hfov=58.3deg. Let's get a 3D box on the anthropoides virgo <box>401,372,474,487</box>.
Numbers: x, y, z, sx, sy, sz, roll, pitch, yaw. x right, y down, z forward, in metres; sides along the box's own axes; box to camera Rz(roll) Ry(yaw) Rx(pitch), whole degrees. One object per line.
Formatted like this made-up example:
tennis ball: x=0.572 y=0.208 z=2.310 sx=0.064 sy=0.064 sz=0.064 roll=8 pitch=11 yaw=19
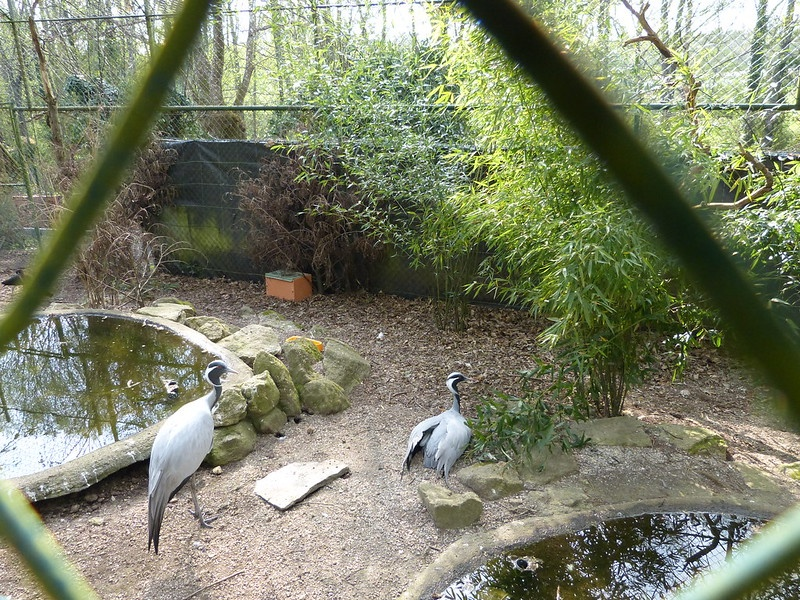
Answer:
anthropoides virgo: x=0.300 y=0.929 z=5.269 sx=0.392 sy=0.696 sz=0.627 roll=9 pitch=15 yaw=33
